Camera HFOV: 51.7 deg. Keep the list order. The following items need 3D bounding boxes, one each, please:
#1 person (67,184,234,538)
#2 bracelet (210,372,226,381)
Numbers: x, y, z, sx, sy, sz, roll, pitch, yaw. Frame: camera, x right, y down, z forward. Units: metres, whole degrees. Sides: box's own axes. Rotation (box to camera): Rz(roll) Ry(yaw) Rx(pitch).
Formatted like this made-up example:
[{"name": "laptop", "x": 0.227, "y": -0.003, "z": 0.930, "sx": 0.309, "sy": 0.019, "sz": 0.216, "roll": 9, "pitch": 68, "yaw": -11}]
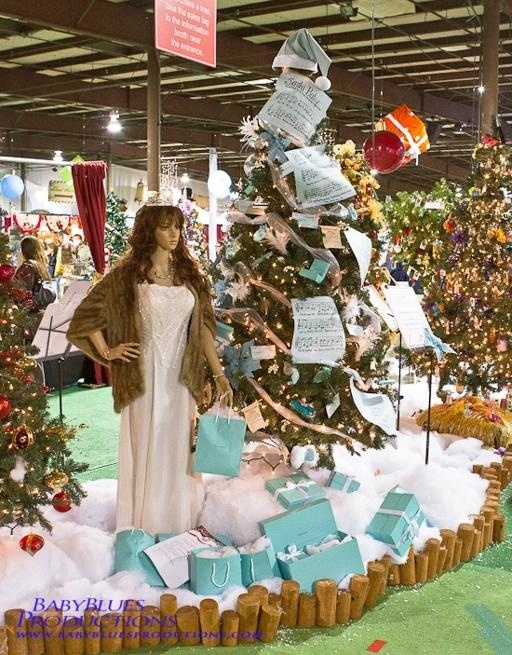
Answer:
[{"name": "person", "x": -0.406, "y": 0.162, "z": 2.076, "sx": 0.646, "sy": 1.278, "sz": 0.310, "roll": 8, "pitch": 5, "yaw": -2}, {"name": "bracelet", "x": -0.156, "y": 0.204, "z": 2.190, "sx": 0.038, "sy": 0.023, "sz": 0.048, "roll": -4, "pitch": 2, "yaw": -24}]
